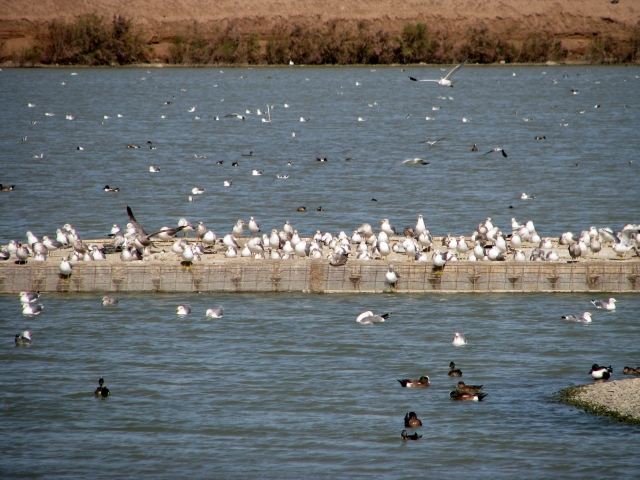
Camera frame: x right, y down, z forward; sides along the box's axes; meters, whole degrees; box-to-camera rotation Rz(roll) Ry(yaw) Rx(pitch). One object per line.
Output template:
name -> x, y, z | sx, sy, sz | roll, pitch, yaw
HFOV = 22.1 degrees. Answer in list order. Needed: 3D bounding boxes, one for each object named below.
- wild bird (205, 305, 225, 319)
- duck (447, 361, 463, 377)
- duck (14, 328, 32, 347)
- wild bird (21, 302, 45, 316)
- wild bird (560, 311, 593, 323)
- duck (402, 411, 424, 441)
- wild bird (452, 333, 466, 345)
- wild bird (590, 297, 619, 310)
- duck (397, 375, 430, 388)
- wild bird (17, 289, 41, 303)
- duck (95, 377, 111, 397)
wild bird -> -5.444, 3.906, 87.297 | 0.593, 0.502, 0.854 | 3, 21, 39
duck -> 6.805, 6.555, 82.378 | 0.748, 0.527, 1.043 | 1, 13, 5
duck -> -15.169, 5.140, 84.566 | 0.861, 0.651, 0.804 | -2, 14, -9
wild bird -> -15.211, 3.760, 87.454 | 1.186, 0.643, 0.792 | -2, 14, -7
wild bird -> 13.661, 4.123, 87.172 | 1.380, 0.763, 0.664 | 5, 3, 10
duck -> 4.446, 8.939, 78.785 | 0.997, 1.101, 1.239 | 1, 14, 4
wild bird -> 7.162, 5.156, 84.577 | 0.584, 0.658, 0.476 | -1, 27, 9
wild bird -> 15.280, 3.482, 88.264 | 1.318, 0.752, 0.616 | 14, 8, 4
duck -> 4.685, 7.069, 81.314 | 1.520, 0.493, 0.407 | 1, 14, 5
wild bird -> -15.516, 3.122, 88.333 | 0.978, 0.619, 1.652 | -1, 13, -4
duck -> -10.623, 7.407, 80.957 | 0.486, 0.494, 1.281 | 6, 12, -13
